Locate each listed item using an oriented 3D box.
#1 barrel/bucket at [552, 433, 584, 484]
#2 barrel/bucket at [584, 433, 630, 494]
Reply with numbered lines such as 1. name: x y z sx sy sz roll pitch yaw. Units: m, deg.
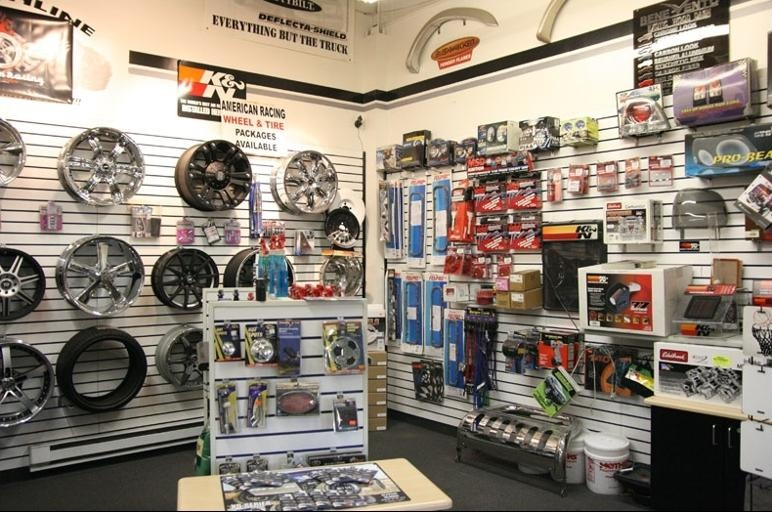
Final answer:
1. barrel/bucket: 2.030 2.229 5.965 0.440 0.449 0.438 0 -3 0
2. barrel/bucket: 2.298 2.202 5.803 0.525 0.542 0.535 -1 2 0
